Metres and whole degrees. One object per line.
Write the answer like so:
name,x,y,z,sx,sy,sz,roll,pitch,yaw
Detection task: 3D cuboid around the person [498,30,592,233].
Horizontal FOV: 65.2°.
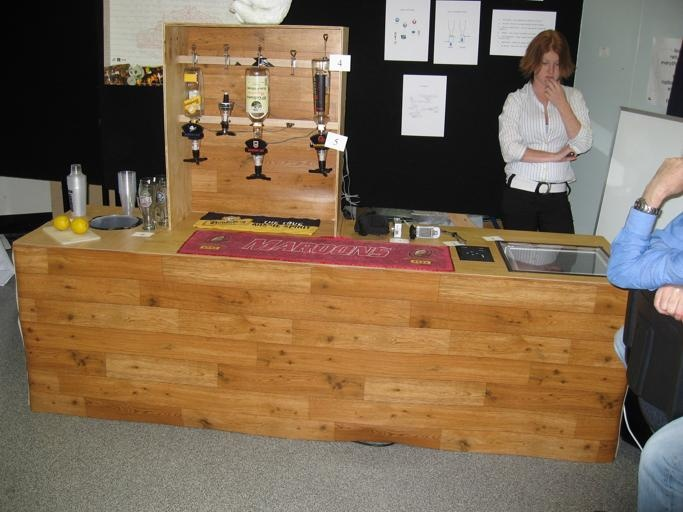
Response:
person,1.415,-0.862,3.765,0.625,1.398,0.394,6,18,15

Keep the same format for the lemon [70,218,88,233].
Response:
lemon,-1.482,-0.179,3.069,0.096,0.088,0.171,-6,16,-24

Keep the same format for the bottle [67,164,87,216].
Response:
bottle,-1.629,-0.418,3.350,0.101,0.316,0.240,-7,18,-24

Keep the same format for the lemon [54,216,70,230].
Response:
lemon,-1.623,-0.202,3.145,0.087,0.079,0.159,-7,16,-25
